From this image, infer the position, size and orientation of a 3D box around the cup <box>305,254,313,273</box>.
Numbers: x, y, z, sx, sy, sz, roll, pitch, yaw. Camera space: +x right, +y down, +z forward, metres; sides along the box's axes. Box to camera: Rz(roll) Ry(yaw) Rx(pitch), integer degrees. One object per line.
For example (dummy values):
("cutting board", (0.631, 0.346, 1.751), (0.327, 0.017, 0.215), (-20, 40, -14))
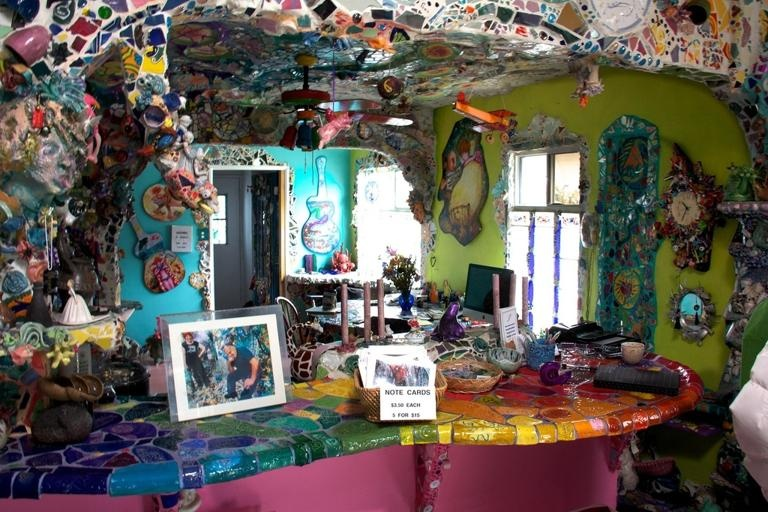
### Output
("cup", (-1.257, 0.103, 9.088), (0.163, 0.281, 0.127), (-3, 14, -14))

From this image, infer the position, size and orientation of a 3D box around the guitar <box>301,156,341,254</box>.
("guitar", (-1.088, -0.872, 9.153), (0.713, 1.645, 0.308), (-4, 15, -21))

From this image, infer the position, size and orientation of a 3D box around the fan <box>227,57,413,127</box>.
("fan", (-0.409, -1.462, 5.006), (1.013, 0.360, 0.778), (4, -6, -4))

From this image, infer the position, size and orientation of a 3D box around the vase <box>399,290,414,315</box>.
("vase", (0.272, 0.568, 6.543), (0.261, 0.394, 0.248), (0, -5, 1))

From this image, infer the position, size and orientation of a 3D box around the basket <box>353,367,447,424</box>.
("basket", (0.092, 0.762, 2.958), (0.497, 0.238, 0.295), (0, 13, -2))

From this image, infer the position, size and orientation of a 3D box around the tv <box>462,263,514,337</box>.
("tv", (1.043, 0.345, 5.232), (0.318, 0.625, 0.752), (-2, 13, -11))

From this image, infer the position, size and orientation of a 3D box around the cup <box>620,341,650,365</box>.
("cup", (1.742, 0.666, 3.701), (0.155, 0.116, 0.142), (-4, 3, 0))

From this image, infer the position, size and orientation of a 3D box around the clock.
("clock", (2.584, -0.415, 4.533), (0.190, 1.053, 0.497), (-3, 14, -13))

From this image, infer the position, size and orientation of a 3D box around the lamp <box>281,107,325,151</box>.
("lamp", (-0.751, -1.295, 5.281), (0.293, 0.275, 0.175), (6, 17, -12))

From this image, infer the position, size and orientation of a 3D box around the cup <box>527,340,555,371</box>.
("cup", (1.080, 0.658, 3.597), (0.190, 0.159, 0.173), (-2, 5, 0))

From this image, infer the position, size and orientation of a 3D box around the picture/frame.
("picture/frame", (-0.920, 0.627, 3.037), (0.714, 0.578, 0.258), (-2, -20, -41))
